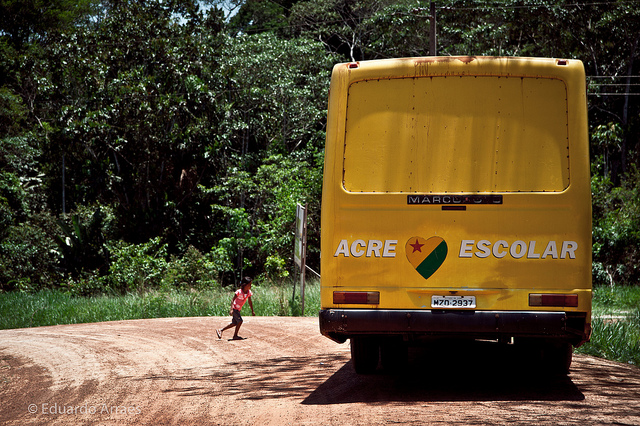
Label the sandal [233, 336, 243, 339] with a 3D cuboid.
[{"bbox_3d":[-1.967,3.093,17.405,0.113,0.029,0.227,2,6,28],"label":"sandal"}]

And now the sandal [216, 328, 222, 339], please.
[{"bbox_3d":[-2.486,3.006,17.418,0.099,0.249,0.075,-16,3,4],"label":"sandal"}]

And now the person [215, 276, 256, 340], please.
[{"bbox_3d":[-2.182,2.361,18.523,0.869,1.630,2.635,-2,6,-6],"label":"person"}]
